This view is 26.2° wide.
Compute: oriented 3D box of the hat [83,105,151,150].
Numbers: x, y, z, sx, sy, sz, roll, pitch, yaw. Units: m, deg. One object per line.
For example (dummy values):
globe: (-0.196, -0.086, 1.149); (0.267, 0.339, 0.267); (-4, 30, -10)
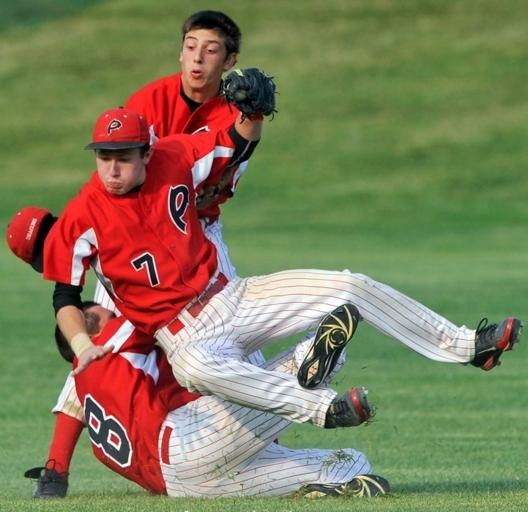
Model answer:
hat: (-0.967, -0.813, 7.252); (0.295, 0.183, 0.376); (0, 0, 12)

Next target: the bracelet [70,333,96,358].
bracelet: (-1.172, 0.565, 7.164); (0.178, 0.133, 0.150); (6, -3, 6)

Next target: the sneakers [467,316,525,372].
sneakers: (1.442, 0.585, 7.462); (0.277, 0.524, 0.163); (16, 47, -24)

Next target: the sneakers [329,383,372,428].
sneakers: (0.498, 0.905, 6.995); (0.294, 0.268, 0.208); (-9, 45, -8)

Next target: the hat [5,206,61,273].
hat: (-1.766, -0.069, 8.548); (0.351, 0.496, 0.363); (16, 41, 13)

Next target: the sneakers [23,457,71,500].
sneakers: (-1.488, 1.526, 7.737); (0.224, 0.124, 0.326); (7, -2, -8)
